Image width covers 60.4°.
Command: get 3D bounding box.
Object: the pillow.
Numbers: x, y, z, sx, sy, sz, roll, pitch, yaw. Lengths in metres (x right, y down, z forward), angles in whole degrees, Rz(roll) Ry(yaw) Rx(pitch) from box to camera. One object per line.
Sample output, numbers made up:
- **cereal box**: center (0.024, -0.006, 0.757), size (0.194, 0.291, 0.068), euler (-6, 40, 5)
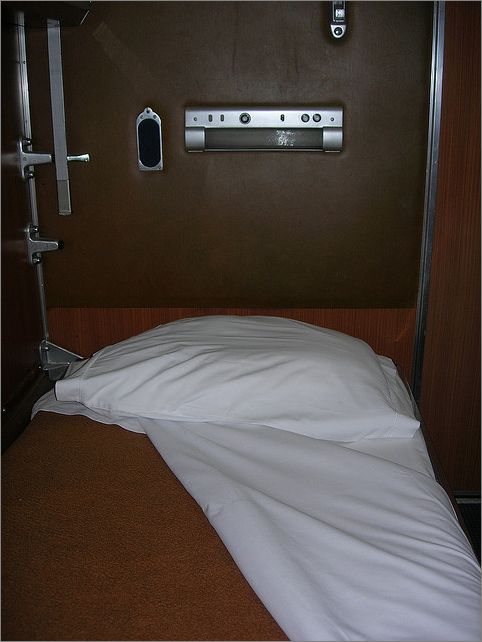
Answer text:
- **pillow**: center (0.009, 0.142, 1.079), size (0.526, 0.468, 0.153), euler (2, -88, 7)
